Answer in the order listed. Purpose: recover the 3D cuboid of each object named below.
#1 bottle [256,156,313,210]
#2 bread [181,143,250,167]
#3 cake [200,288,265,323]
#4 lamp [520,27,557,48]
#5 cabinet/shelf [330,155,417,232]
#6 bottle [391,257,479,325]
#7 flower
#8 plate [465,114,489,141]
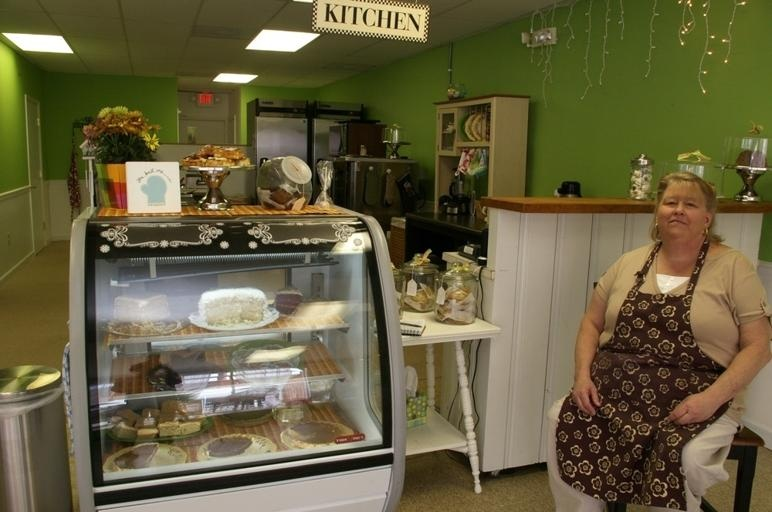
[{"bbox_3d":[-0.526,-0.358,2.941,0.290,0.259,0.284,22,23,37],"label":"bottle"},{"bbox_3d":[-0.876,-0.514,2.883,0.319,0.111,0.351,-5,12,-18],"label":"bread"},{"bbox_3d":[-0.702,0.231,2.577,0.236,0.111,0.180,-1,5,-18],"label":"cake"},{"bbox_3d":[1.448,-2.058,5.292,0.100,0.148,0.296,-16,14,-30],"label":"lamp"},{"bbox_3d":[-0.181,-0.906,7.806,1.103,1.392,0.920,-1,8,-7],"label":"cabinet/shelf"},{"bbox_3d":[0.322,0.213,3.380,0.536,0.353,0.299,3,6,32],"label":"bottle"},{"bbox_3d":[-1.344,-0.597,2.809,0.291,0.257,0.294,-5,13,-28],"label":"flower"},{"bbox_3d":[0.928,-1.289,5.585,0.077,0.273,0.289,1,1,-43],"label":"plate"}]
